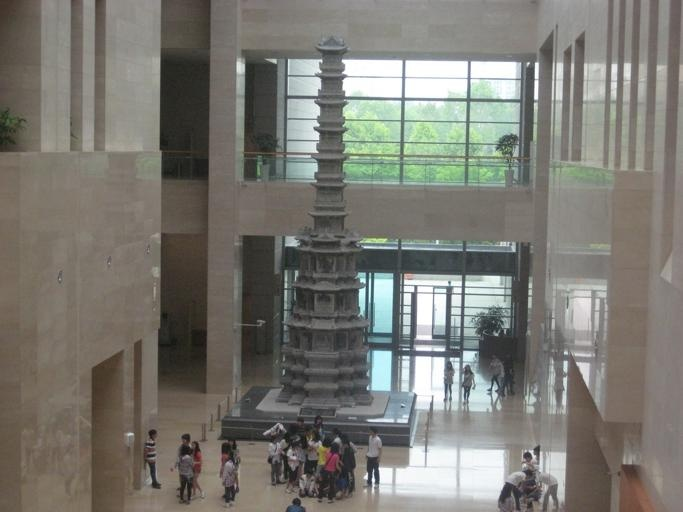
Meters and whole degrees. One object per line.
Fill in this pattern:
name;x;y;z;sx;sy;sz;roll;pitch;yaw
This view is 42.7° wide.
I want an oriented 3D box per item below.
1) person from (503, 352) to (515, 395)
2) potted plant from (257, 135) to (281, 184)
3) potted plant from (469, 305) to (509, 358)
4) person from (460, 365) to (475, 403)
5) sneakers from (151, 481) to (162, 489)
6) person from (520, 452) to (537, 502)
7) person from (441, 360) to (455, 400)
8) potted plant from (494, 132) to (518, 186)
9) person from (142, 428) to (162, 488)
person;5.101;3.616;26.409;0.319;1.023;1.019;2;8;10
potted plant;-2.192;-2.936;25.889;0.658;1.316;1.538;0;8;-6
potted plant;5.122;2.484;29.662;1.039;1.698;1.069;1;1;-36
person;3.698;3.654;25.330;0.295;1.217;1.199;2;8;7
sneakers;-3.990;4.954;18.786;0.248;0.207;0.093;0;8;-3
person;3.737;4.503;17.235;0.330;1.151;0.312;4;-1;13
person;3.163;3.588;25.636;0.255;1.154;1.135;2;8;8
potted plant;5.285;-2.937;27.326;0.678;1.661;0.656;-2;5;-1
person;-4.065;4.316;18.721;0.359;1.383;0.705;-1;8;-12
